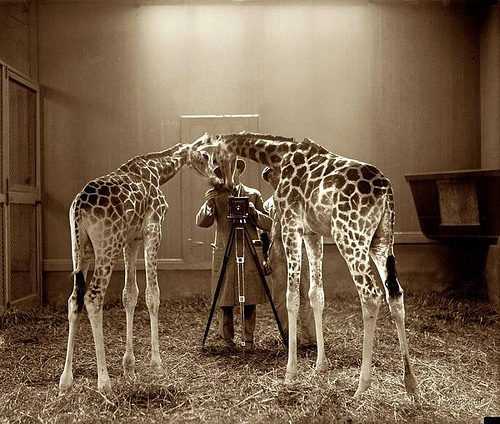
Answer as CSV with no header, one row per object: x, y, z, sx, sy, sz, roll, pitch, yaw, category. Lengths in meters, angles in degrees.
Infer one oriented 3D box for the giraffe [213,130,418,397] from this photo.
0.501,0.363,4.543,0.544,1.839,1.586,-9,13,-44,giraffe

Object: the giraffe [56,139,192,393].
-0.984,0.434,4.743,0.544,1.751,1.281,4,11,25,giraffe

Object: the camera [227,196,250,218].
-0.103,-0.038,5.042,0.146,0.176,0.163,0,-4,0,camera
